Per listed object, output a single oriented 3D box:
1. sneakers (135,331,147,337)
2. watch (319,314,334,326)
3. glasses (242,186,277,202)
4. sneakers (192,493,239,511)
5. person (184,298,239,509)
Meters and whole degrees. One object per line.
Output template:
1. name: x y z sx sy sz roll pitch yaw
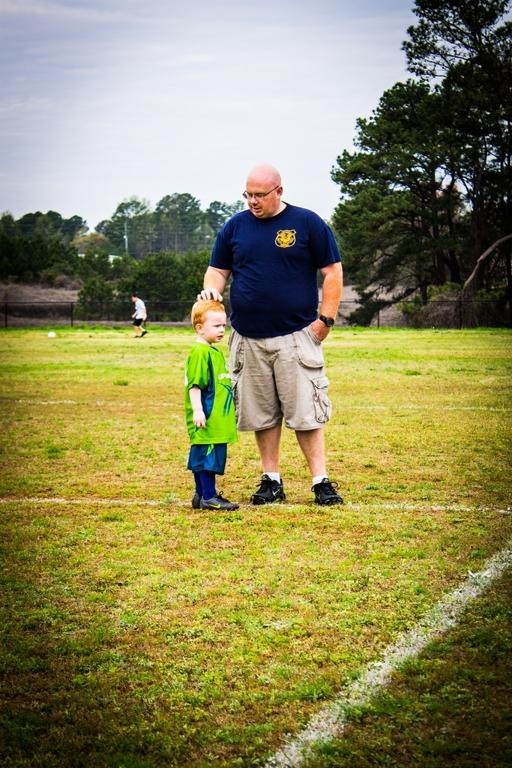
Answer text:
1. sneakers: -3.574 -1.526 26.900 0.185 0.193 0.497 -1 10 -17
2. watch: 0.350 -0.319 4.380 0.051 0.032 0.053 13 -22 15
3. glasses: 0.024 -0.901 4.169 0.170 0.070 0.193 0 6 1
4. sneakers: -0.219 0.588 4.369 0.255 0.085 0.083 1 -1 1
5. person: -0.231 0.106 4.393 0.262 1.050 0.381 -1 7 -4
